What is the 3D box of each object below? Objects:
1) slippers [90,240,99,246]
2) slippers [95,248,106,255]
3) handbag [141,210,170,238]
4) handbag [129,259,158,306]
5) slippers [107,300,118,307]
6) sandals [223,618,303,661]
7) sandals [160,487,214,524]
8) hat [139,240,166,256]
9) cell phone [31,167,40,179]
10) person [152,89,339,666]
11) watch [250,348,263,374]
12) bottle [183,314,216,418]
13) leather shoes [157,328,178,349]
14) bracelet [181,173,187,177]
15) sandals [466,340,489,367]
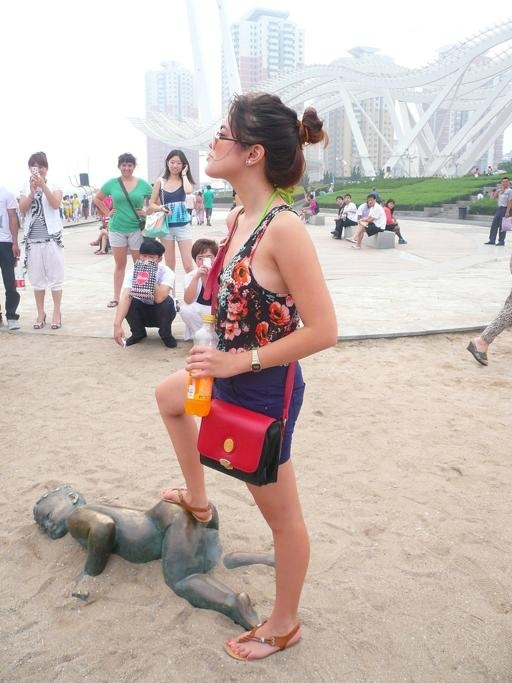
[{"bbox_3d":[-5.166,-3.108,17.817,0.253,0.175,0.436,-4,9,-11],"label":"slippers"},{"bbox_3d":[-4.584,-2.620,16.364,0.164,0.195,0.518,-6,18,-31],"label":"slippers"},{"bbox_3d":[-1.259,-1.462,6.950,0.327,0.337,0.176,12,40,-3],"label":"handbag"},{"bbox_3d":[-1.177,-0.635,5.839,0.285,0.393,0.121,1,4,7],"label":"handbag"},{"bbox_3d":[-2.025,-0.535,7.889,0.101,0.064,0.174,-1,3,-9],"label":"slippers"},{"bbox_3d":[0.022,0.962,1.830,0.222,0.074,0.112,7,0,-17],"label":"sandals"},{"bbox_3d":[-0.306,0.671,2.404,0.259,0.074,0.099,30,15,38],"label":"sandals"},{"bbox_3d":[-1.107,-0.993,5.927,0.171,0.190,0.222,2,9,-10],"label":"hat"},{"bbox_3d":[-2.576,-1.974,6.511,0.084,0.133,0.072,-4,13,-21],"label":"cell phone"},{"bbox_3d":[-0.061,0.156,1.785,0.505,1.785,0.615,-1,13,-11],"label":"person"},{"bbox_3d":[-0.003,0.051,1.483,0.032,0.051,0.050,-2,13,1],"label":"watch"},{"bbox_3d":[-0.164,0.094,1.639,0.086,0.339,0.256,0,12,-4],"label":"bottle"},{"bbox_3d":[-0.959,-0.059,6.121,0.106,0.193,0.304,-20,37,-29],"label":"leather shoes"},{"bbox_3d":[-0.953,-2.187,7.348,0.051,0.066,0.072,4,6,34],"label":"bracelet"},{"bbox_3d":[2.169,0.109,5.512,0.153,0.325,0.120,-29,8,13],"label":"sandals"}]
